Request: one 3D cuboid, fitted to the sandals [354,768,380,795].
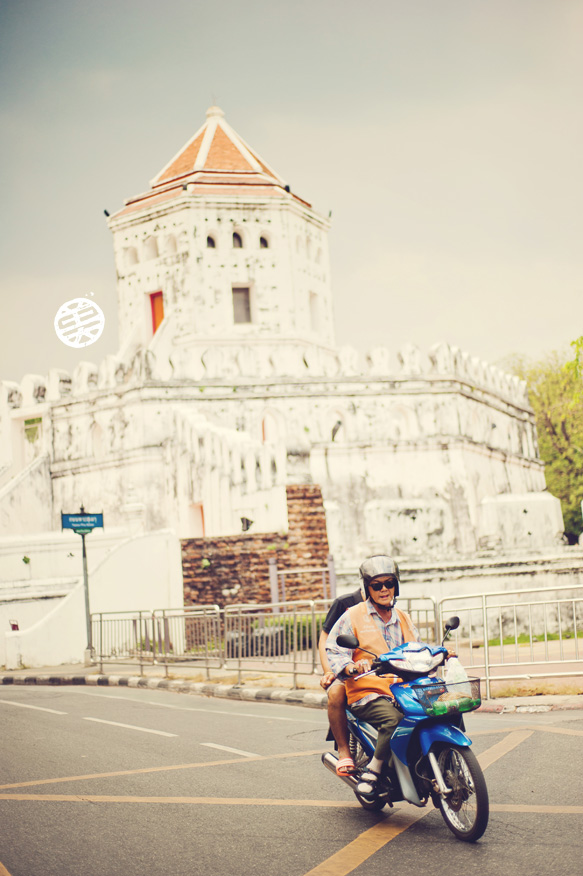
[{"bbox_3d":[0.417,1.817,5.270,0.098,0.170,0.061,12,9,2],"label":"sandals"}]

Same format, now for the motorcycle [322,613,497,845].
[{"bbox_3d":[0.665,1.537,5.311,0.584,0.803,1.193,2,-13,-25],"label":"motorcycle"}]

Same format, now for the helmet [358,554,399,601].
[{"bbox_3d":[0.538,0.806,5.729,0.207,0.264,0.259,-5,17,-6],"label":"helmet"}]
